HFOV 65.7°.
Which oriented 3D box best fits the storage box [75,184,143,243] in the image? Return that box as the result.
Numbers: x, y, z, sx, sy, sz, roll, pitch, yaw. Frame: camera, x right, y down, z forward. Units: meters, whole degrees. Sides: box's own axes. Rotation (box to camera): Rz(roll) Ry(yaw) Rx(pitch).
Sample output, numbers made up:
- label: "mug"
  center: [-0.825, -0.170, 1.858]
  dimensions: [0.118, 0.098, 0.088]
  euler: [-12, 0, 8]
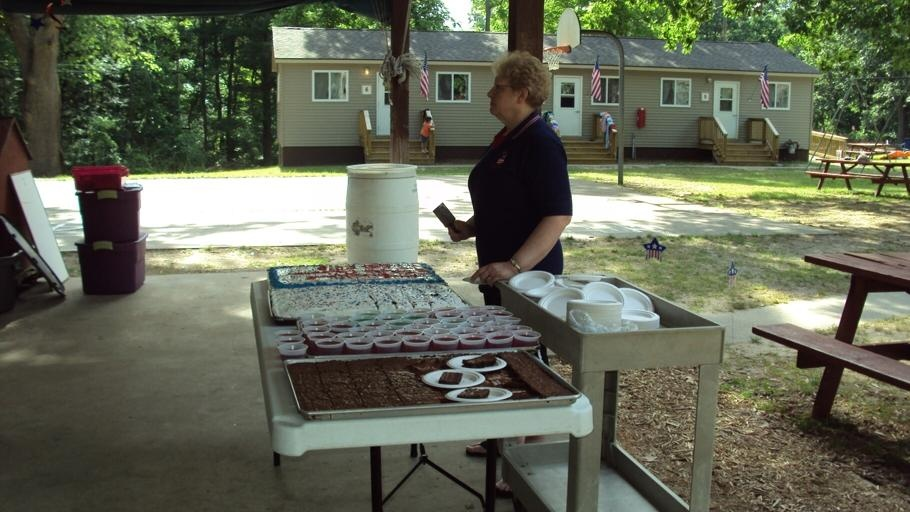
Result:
- label: "storage box"
  center: [-4.486, -0.560, 9.228]
  dimensions: [0.758, 0.587, 0.882]
  euler: [-1, 1, -16]

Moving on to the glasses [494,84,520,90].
- label: "glasses"
  center: [0.419, -1.386, 5.816]
  dimensions: [0.196, 0.045, 0.049]
  euler: [3, 16, 16]

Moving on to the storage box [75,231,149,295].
- label: "storage box"
  center: [-4.650, 0.109, 9.736]
  dimensions: [0.931, 0.702, 1.055]
  euler: [-2, 4, -13]

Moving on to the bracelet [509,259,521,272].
- label: "bracelet"
  center: [0.483, 0.075, 5.618]
  dimensions: [0.077, 0.033, 0.086]
  euler: [-7, 52, -51]

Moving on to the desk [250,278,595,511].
- label: "desk"
  center: [-0.338, 0.640, 4.632]
  dimensions: [1.578, 0.486, 2.182]
  euler: [0, 3, -16]

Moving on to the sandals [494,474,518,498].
- label: "sandals"
  center: [0.410, 1.924, 5.833]
  dimensions: [0.228, 0.087, 0.207]
  euler: [3, 8, -12]

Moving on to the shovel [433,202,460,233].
- label: "shovel"
  center: [-0.073, -0.331, 6.165]
  dimensions: [0.119, 0.385, 0.066]
  euler: [-43, 40, -3]

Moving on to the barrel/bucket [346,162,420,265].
- label: "barrel/bucket"
  center: [-0.833, -0.465, 8.011]
  dimensions: [0.806, 1.045, 0.412]
  euler: [-3, 16, -7]

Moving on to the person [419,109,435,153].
- label: "person"
  center: [-1.060, -4.767, 26.893]
  dimensions: [0.521, 1.536, 1.215]
  euler: [-2, 16, -2]
